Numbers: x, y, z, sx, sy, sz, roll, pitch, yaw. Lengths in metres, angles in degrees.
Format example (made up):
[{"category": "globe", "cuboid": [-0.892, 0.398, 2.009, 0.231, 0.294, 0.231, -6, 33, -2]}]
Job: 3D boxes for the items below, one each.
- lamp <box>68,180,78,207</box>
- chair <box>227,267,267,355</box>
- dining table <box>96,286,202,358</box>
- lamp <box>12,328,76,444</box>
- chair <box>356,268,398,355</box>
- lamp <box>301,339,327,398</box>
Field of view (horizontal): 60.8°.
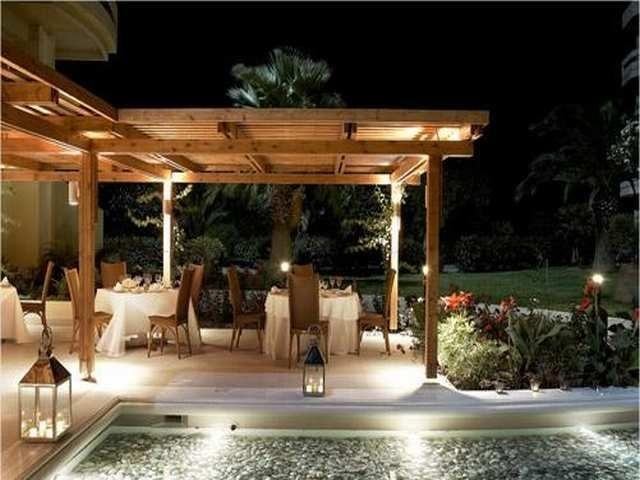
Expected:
[{"category": "lamp", "cuboid": [-4.950, -0.964, 10.979, 0.154, 0.441, 0.292, 3, -5, -33]}, {"category": "chair", "cuboid": [-1.372, 1.294, 10.241, 0.643, 1.454, 2.258, 1, -6, -7]}, {"category": "dining table", "cuboid": [-3.059, 1.314, 9.299, 1.136, 0.810, 1.371, 7, -11, -23]}, {"category": "lamp", "cuboid": [-3.141, 1.673, 6.274, 0.553, 1.303, 0.288, 3, -5, -31]}, {"category": "chair", "cuboid": [1.066, 1.280, 9.978, 0.642, 1.492, 1.726, 0, -5, 8]}, {"category": "lamp", "cuboid": [-0.074, 1.706, 7.240, 0.310, 0.741, 0.264, 0, -4, -1]}]
